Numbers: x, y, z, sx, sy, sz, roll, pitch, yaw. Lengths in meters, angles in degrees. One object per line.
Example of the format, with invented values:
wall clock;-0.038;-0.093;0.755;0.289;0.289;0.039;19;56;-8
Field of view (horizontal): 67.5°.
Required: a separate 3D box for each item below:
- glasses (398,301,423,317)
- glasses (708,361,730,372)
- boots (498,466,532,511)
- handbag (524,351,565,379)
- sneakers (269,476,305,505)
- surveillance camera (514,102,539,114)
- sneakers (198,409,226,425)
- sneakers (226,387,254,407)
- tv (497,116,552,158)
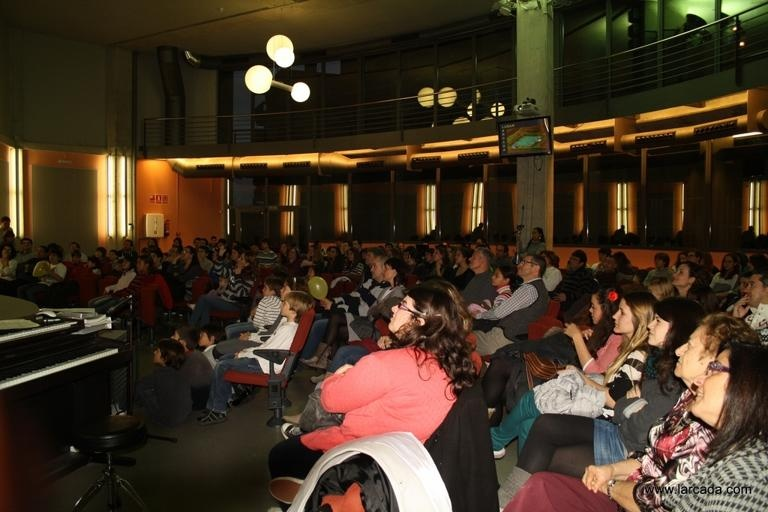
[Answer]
glasses;0.161;0.341;3.699;0.170;0.103;0.041;0;5;31
glasses;1.859;0.624;3.238;0.041;0.074;0.121;-4;4;-19
boots;0.890;1.638;4.047;0.209;0.255;0.245;0;5;31
handbag;1.310;0.930;4.826;0.204;0.110;0.253;-1;8;-37
sneakers;-0.657;1.599;3.878;0.216;0.234;0.102;1;6;40
surveillance camera;2.480;-2.575;10.038;0.341;0.209;0.235;-2;4;2
sneakers;-1.708;1.613;5.759;0.270;0.126;0.108;10;-10;-23
sneakers;-1.522;1.482;6.063;0.129;0.149;0.243;27;-3;9
tv;2.469;-2.086;10.182;0.901;0.651;0.093;0;16;25
